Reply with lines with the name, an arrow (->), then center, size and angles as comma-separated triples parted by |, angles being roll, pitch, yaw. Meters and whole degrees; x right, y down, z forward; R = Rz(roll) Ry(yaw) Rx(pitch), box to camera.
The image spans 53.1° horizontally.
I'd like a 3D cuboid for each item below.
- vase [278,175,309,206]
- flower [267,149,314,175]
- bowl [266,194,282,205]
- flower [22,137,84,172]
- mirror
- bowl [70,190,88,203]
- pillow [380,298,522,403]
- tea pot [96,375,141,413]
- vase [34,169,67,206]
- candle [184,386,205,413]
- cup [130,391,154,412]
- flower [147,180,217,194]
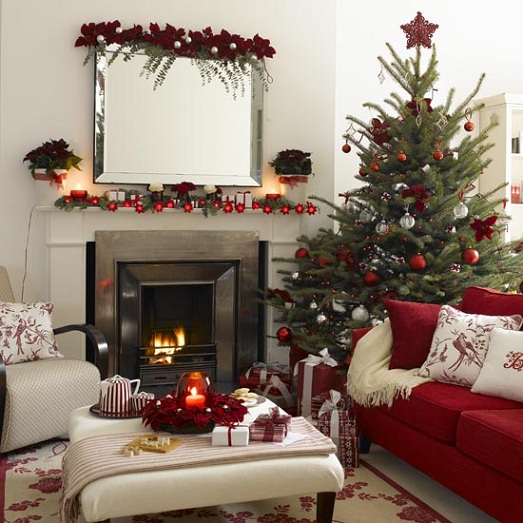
vase -> 0.257, -0.550, 3.983 | 0.229, 0.187, 0.229 | -1, 3, -31
flower -> 0.235, -0.731, 3.957 | 0.259, 0.125, 0.229 | 0, 2, -5
bowl -> 0.095, -0.470, 3.902 | 0.104, 0.060, 0.094 | 4, 11, 16
flower -> -1.363, -0.684, 3.439 | 0.302, 0.133, 0.276 | 4, 4, 21
mirror -> -0.640, -1.073, 3.744 | 1.402, 0.813, 0.052 | 0, 0, -18
bowl -> -1.226, -0.442, 3.522 | 0.109, 0.080, 0.080 | -3, 6, -16
pillow -> 0.835, 0.397, 2.265 | 0.155, 0.291, 0.524 | 25, -15, -41
tea pot -> -0.546, 0.516, 2.080 | 0.138, 0.131, 0.182 | -3, -5, 45
vase -> -1.423, -0.494, 3.500 | 0.265, 0.244, 0.181 | -2, 6, -4
candle -> -0.232, 0.489, 1.844 | 0.070, 0.058, 0.068 | 4, 5, 34
cup -> -0.449, 0.523, 1.977 | 0.083, 0.060, 0.085 | 1, -4, 0
flower -> -0.553, -0.528, 3.745 | 0.506, 0.087, 0.187 | -3, 6, -19
